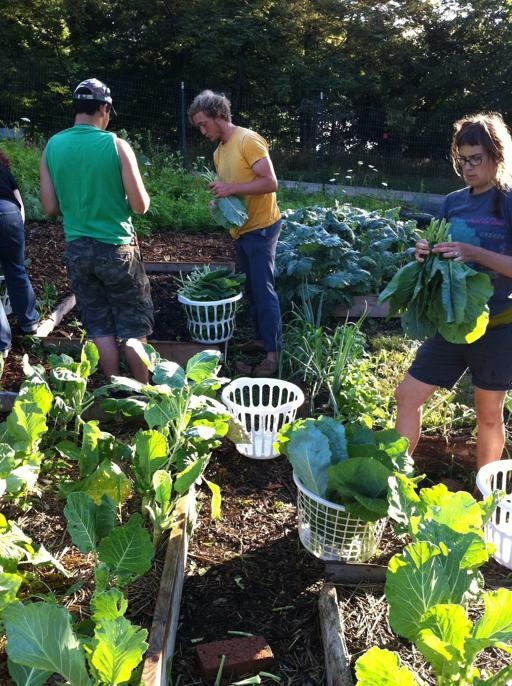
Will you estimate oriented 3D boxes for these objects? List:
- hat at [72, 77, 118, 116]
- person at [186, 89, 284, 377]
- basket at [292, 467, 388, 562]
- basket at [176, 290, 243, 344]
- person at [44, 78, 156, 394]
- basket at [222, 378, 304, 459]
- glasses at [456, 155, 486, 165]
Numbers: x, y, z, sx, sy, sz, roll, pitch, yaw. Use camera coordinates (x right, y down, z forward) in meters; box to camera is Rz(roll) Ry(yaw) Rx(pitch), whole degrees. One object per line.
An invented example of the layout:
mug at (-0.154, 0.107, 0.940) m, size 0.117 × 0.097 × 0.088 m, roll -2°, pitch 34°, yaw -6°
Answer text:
hat at (-0.865, -1.326, 3.068) m, size 0.188 × 0.162 × 0.284 m, roll -7°, pitch 15°, yaw -13°
person at (-0.072, -0.732, 3.949) m, size 0.518 × 1.877 × 0.523 m, roll 4°, pitch 17°, yaw 26°
basket at (0.305, 0.598, 2.246) m, size 0.363 × 0.330 × 0.347 m, roll 5°, pitch 33°, yaw 8°
basket at (-0.328, -0.198, 4.211) m, size 0.407 × 0.275 × 0.390 m, roll -1°, pitch 12°, yaw 3°
person at (-0.869, -0.585, 3.233) m, size 0.578 × 1.601 × 0.356 m, roll -6°, pitch 15°, yaw -8°
basket at (0.028, 0.410, 3.189) m, size 0.456 × 0.350 × 0.441 m, roll -14°, pitch 28°, yaw -33°
glasses at (0.864, -0.741, 2.379) m, size 0.044 × 0.047 × 0.131 m, roll -8°, pitch 15°, yaw -17°
